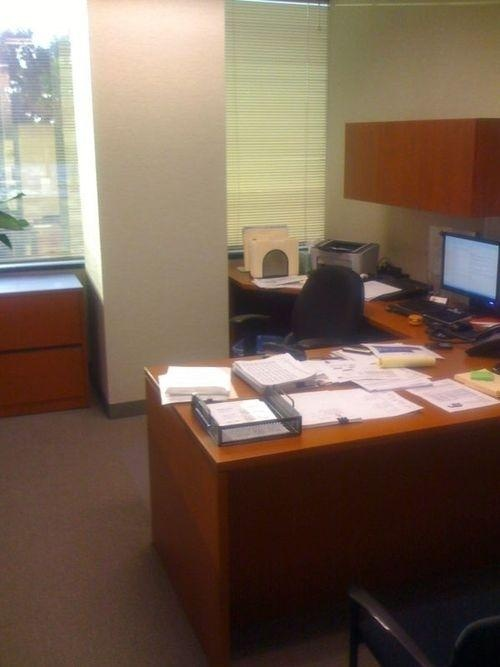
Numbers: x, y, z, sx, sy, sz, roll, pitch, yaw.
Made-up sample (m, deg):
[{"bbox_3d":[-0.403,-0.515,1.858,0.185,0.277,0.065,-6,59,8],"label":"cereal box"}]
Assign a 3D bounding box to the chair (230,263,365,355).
[{"bbox_3d":[0.274,-0.135,3.202,0.572,0.781,0.653,0,11,-21],"label":"chair"}]
